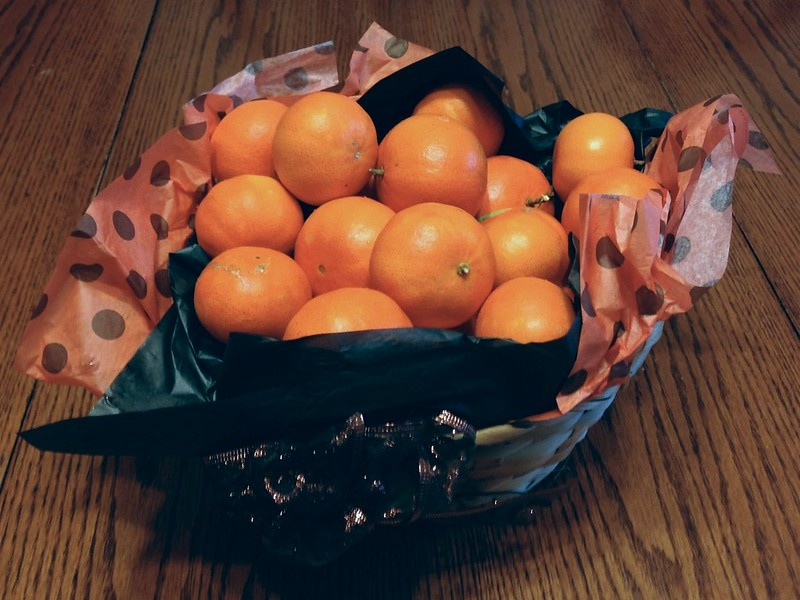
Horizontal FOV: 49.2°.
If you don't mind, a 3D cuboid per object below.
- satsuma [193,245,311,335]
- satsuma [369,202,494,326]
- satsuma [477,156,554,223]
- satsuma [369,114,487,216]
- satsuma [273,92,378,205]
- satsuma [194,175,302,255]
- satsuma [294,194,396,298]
[{"bbox_3d":[-0.157,-0.005,0.943,0.120,0.120,0.106,2,85,-32],"label":"satsuma"},{"bbox_3d":[0.033,-0.037,0.885,0.126,0.068,0.106,-4,61,-3],"label":"satsuma"},{"bbox_3d":[0.123,-0.131,1.035,0.066,0.071,0.083,5,81,-7],"label":"satsuma"},{"bbox_3d":[0.034,-0.145,0.986,0.096,0.106,0.116,6,97,-12],"label":"satsuma"},{"bbox_3d":[-0.082,-0.168,0.965,0.115,0.077,0.101,-1,61,-1],"label":"satsuma"},{"bbox_3d":[-0.165,-0.093,0.949,0.084,0.096,0.092,4,43,-11],"label":"satsuma"},{"bbox_3d":[-0.051,-0.051,0.977,0.088,0.121,0.096,-19,41,-21],"label":"satsuma"}]
